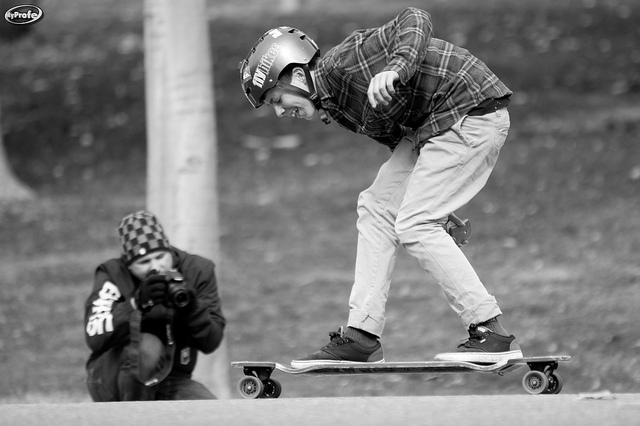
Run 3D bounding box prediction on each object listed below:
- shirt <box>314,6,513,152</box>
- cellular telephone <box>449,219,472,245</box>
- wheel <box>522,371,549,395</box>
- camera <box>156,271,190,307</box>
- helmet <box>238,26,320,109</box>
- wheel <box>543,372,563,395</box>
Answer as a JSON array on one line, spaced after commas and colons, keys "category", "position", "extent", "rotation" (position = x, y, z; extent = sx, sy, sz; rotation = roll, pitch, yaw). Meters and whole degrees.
[{"category": "shirt", "position": [0.557, -0.856, 6.263], "extent": [1.212, 0.440, 0.854], "rotation": [-10, -22, -5]}, {"category": "cellular telephone", "position": [0.970, 0.129, 6.485], "extent": [0.185, 0.165, 0.115], "rotation": [-2, 11, -12]}, {"category": "wheel", "position": [1.403, 1.100, 6.127], "extent": [0.160, 0.154, 0.079], "rotation": [6, 12, 24]}, {"category": "camera", "position": [-1.009, 0.522, 6.537], "extent": [0.224, 0.227, 0.142], "rotation": [-19, -22, -13]}, {"category": "helmet", "position": [-0.260, -1.065, 6.496], "extent": [0.652, 0.346, 0.463], "rotation": [-27, 5, 17]}, {"category": "wheel", "position": [1.515, 1.118, 6.213], "extent": [0.138, 0.130, 0.137], "rotation": [0, -7, 0]}]
